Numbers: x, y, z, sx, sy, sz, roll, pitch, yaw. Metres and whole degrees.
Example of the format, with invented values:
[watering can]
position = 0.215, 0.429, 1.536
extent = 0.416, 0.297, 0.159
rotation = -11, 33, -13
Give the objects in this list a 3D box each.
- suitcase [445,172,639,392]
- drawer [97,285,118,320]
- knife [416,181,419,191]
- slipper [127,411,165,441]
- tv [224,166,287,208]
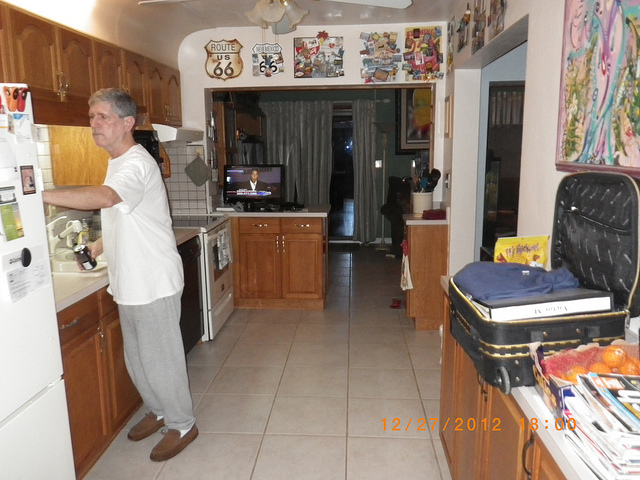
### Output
[suitcase]
position = 0.818, 0.193, 1.894
extent = 0.615, 0.864, 0.844
rotation = 0, 6, 3
[drawer]
position = -1.264, 0.364, 2.718
extent = 0.100, 0.196, 0.194
rotation = 1, 7, 4
[knife]
position = 0.992, -0.542, 4.641
extent = 0.027, 0.091, 0.040
rotation = -1, 12, 4
[slipper]
position = -1.102, 1.188, 2.942
extent = 0.078, 0.090, 0.242
rotation = 8, 0, 16
[tv]
position = -0.751, -0.607, 5.254
extent = 0.692, 0.534, 0.210
rotation = 0, 12, -6
